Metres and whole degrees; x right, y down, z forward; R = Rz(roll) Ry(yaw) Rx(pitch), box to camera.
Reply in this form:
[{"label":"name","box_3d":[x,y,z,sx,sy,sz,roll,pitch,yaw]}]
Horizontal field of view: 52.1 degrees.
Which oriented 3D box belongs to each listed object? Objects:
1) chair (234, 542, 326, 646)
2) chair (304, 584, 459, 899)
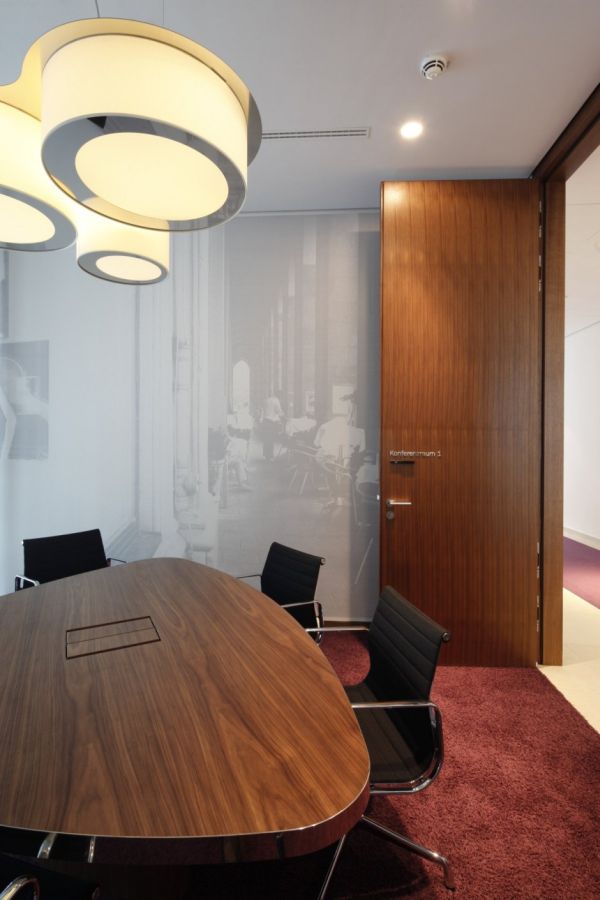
[{"label":"chair","box_3d":[-0.010,0.617,2.714,0.327,0.559,0.349,-5,-17,39]},{"label":"chair","box_3d":[0.277,0.838,2.092,0.559,0.932,0.703,1,-6,-4]}]
